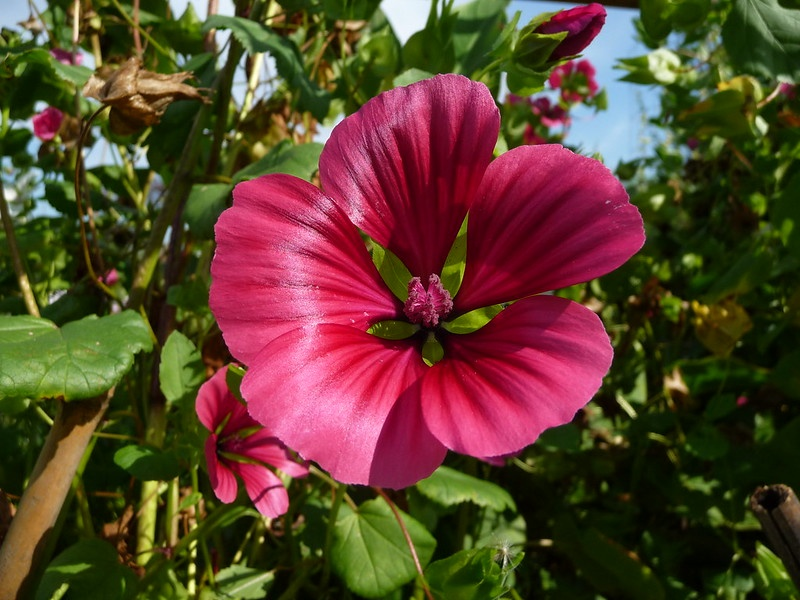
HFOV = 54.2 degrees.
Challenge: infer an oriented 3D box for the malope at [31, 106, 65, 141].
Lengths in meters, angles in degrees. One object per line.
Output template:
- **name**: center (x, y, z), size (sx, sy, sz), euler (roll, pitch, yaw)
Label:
- **malope**: center (-0.708, -0.345, 1.558), size (0.051, 0.064, 0.120), euler (7, -17, -31)

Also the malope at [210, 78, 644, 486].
- **malope**: center (0.036, 0.017, 1.041), size (0.459, 0.167, 0.522), euler (12, 32, 29)

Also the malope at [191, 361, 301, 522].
- **malope**: center (-0.250, 0.207, 1.123), size (0.082, 0.210, 0.177), euler (-9, 24, 12)
